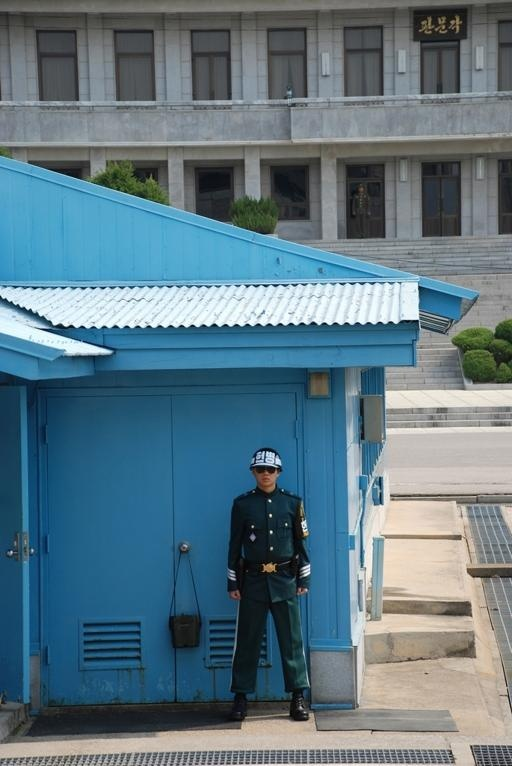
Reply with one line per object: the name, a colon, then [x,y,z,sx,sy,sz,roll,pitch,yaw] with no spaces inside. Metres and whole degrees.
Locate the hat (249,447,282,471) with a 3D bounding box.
hat: [0.074,0.578,9.805,0.236,0.165,0.295,-2,8,17]

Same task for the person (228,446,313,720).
person: [0.092,1.541,9.833,0.571,2.259,0.441,0,14,-2]

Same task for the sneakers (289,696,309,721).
sneakers: [0.324,2.523,9.830,0.077,0.180,0.240,2,-22,-7]

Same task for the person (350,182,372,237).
person: [3.366,-5.562,40.764,0.641,1.728,0.543,-10,9,-43]

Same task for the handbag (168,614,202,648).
handbag: [-0.540,1.940,10.233,0.310,0.384,0.209,0,-1,5]
